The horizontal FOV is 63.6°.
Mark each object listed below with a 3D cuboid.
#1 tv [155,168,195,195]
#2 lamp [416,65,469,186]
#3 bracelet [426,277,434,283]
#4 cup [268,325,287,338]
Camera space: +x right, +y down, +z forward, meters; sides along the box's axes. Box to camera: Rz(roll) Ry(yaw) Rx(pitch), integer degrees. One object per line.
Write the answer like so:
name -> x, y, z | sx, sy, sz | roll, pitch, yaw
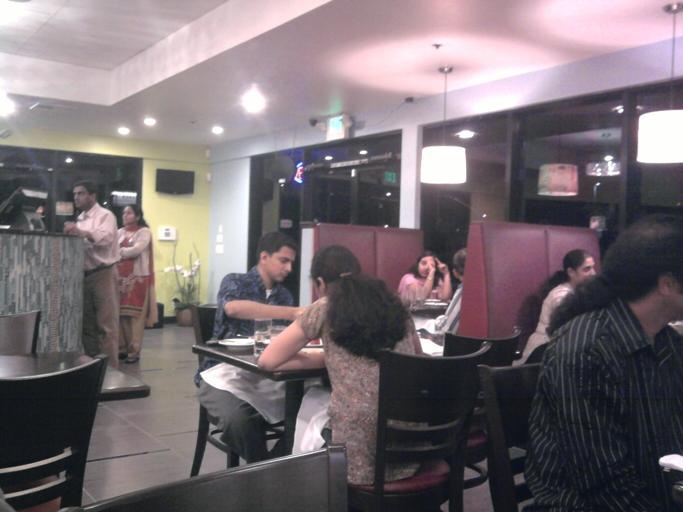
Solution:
tv -> -2.477, -1.088, 8.108 | 0.406, 0.296, 0.054 | 1, -3, -36
lamp -> 0.937, -1.127, 5.009 | 0.397, 0.954, 0.800 | 1, 3, 12
bracelet -> 0.734, 0.201, 4.569 | 0.048, 0.047, 0.049 | 1, 3, 27
cup -> -0.242, 0.283, 2.053 | 0.045, 0.038, 0.050 | 1, -4, -9
